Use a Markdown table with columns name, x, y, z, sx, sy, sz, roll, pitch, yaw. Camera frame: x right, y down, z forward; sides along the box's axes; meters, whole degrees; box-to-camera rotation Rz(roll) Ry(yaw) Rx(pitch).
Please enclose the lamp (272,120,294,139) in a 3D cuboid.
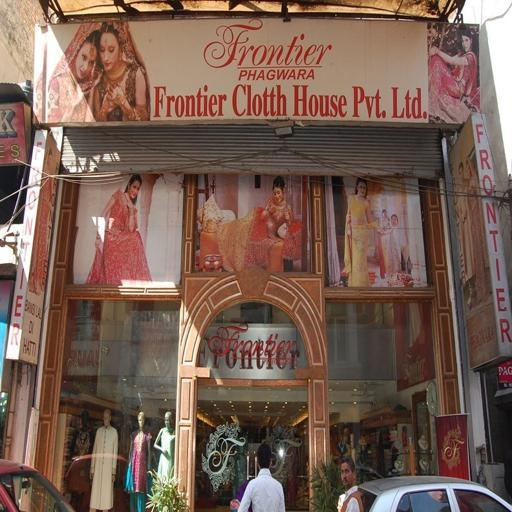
| name | x | y | z | sx | sy | sz | roll | pitch | yaw |
| --- | --- | --- | --- | --- | --- | --- | --- | --- | --- |
| lamp | 0.519 | -2.444 | 10.259 | 0.414 | 0.264 | 0.498 | 0 | -22 | 0 |
